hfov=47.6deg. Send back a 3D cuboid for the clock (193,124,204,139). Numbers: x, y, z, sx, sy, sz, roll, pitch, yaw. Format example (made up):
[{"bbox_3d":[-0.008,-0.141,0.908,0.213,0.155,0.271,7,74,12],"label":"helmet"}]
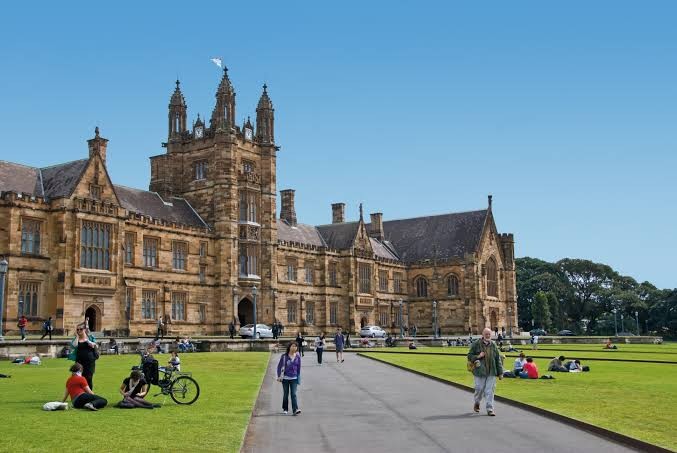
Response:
[{"bbox_3d":[-13.916,-9.519,76.730,1.434,1.472,0.258,-11,-15,40],"label":"clock"}]

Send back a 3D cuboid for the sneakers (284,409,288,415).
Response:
[{"bbox_3d":[-2.044,7.132,29.549,0.174,0.177,0.235,0,-11,-2],"label":"sneakers"}]

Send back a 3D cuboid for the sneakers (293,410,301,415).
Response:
[{"bbox_3d":[-1.602,7.143,29.510,0.228,0.223,0.490,-1,-11,2],"label":"sneakers"}]

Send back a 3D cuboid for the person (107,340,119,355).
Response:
[{"bbox_3d":[-14.721,7.868,50.526,0.652,1.046,1.367,3,-12,-16],"label":"person"}]

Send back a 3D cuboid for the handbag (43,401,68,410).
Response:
[{"bbox_3d":[-10.424,6.642,28.421,0.849,0.304,0.309,4,-12,-21],"label":"handbag"}]

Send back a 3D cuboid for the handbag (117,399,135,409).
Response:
[{"bbox_3d":[-8.022,6.651,28.993,0.684,0.369,0.179,-2,-12,8],"label":"handbag"}]

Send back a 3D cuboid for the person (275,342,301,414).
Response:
[{"bbox_3d":[-1.910,5.953,30.257,0.813,2.772,1.595,0,-12,-2],"label":"person"}]

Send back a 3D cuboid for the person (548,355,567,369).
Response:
[{"bbox_3d":[11.857,7.466,42.002,0.833,0.794,1.312,-4,-12,17],"label":"person"}]

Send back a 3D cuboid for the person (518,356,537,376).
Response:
[{"bbox_3d":[9.703,7.253,39.148,1.224,1.201,0.792,1,-5,13],"label":"person"}]

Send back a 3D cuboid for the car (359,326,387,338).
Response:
[{"bbox_3d":[3.998,11.887,86.667,2.351,0.821,1.341,-3,1,-42],"label":"car"}]

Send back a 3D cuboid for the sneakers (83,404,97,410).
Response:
[{"bbox_3d":[-9.184,6.699,28.500,0.543,0.223,0.179,19,-38,-19],"label":"sneakers"}]

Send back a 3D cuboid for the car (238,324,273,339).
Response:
[{"bbox_3d":[-7.342,9.523,69.920,1.403,0.974,3.092,-3,-4,39],"label":"car"}]

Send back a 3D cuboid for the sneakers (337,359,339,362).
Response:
[{"bbox_3d":[-0.037,8.791,50.361,0.124,0.116,0.067,-1,-2,43],"label":"sneakers"}]

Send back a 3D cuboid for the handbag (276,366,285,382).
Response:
[{"bbox_3d":[-2.207,5.750,29.795,0.206,0.483,0.213,2,-12,-12],"label":"handbag"}]

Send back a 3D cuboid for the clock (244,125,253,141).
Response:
[{"bbox_3d":[-9.171,-9.592,77.761,0.272,1.815,1.619,-11,-13,34],"label":"clock"}]

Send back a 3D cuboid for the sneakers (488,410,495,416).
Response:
[{"bbox_3d":[5.894,7.220,29.706,0.315,0.178,0.218,1,-11,-7],"label":"sneakers"}]
